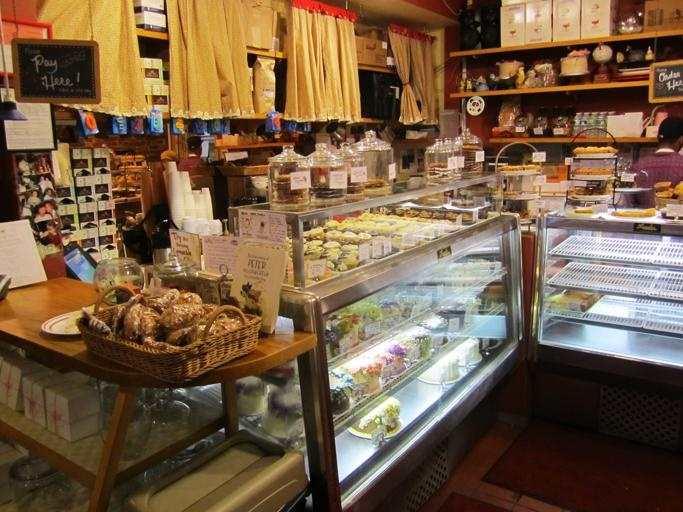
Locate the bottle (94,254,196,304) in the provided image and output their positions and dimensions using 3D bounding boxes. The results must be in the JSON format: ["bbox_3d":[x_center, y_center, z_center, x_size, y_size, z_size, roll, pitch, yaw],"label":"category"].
[{"bbox_3d":[-0.786,0.087,1.942,0.383,0.134,0.194,-1,11,-14],"label":"bottle"}]

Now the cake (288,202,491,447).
[{"bbox_3d":[0.220,0.324,2.336,0.305,0.751,1.585,6,19,42],"label":"cake"}]

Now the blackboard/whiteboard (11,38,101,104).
[{"bbox_3d":[-1.231,-0.791,2.038,0.362,0.233,0.027,-3,6,-29],"label":"blackboard/whiteboard"}]

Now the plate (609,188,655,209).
[{"bbox_3d":[2.424,-0.478,3.983,0.325,0.094,0.288,-2,14,-1],"label":"plate"}]

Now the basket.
[{"bbox_3d":[-0.600,0.244,1.664,0.555,0.248,0.348,4,17,33],"label":"basket"}]

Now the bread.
[{"bbox_3d":[-0.574,0.164,1.575,0.314,0.084,0.236,4,8,35],"label":"bread"}]
